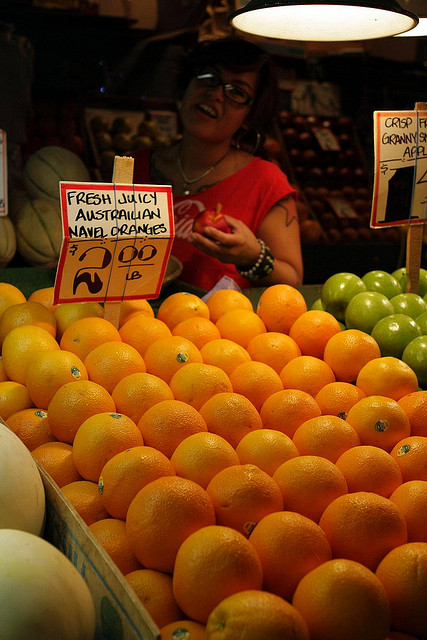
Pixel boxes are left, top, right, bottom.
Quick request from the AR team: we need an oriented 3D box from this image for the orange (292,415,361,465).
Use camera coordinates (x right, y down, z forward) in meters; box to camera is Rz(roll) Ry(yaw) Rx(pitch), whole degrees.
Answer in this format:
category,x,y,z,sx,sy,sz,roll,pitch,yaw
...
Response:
category,x,y,z,sx,sy,sz,roll,pitch,yaw
orange,0.195,0.208,0.879,0.088,0.083,0.083,1,0,-6

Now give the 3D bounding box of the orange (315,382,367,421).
category,x,y,z,sx,sy,sz,roll,pitch,yaw
orange,0.260,0.164,1.041,0.076,0.073,0.078,19,-18,3

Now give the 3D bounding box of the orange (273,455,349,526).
category,x,y,z,sx,sy,sz,roll,pitch,yaw
orange,0.137,0.246,0.776,0.096,0.107,0.095,3,18,0

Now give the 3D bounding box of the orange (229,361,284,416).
category,x,y,z,sx,sy,sz,roll,pitch,yaw
orange,0.086,0.151,1.086,0.104,0.118,0.097,2,-28,0

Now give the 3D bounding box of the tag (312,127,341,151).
category,x,y,z,sx,sy,sz,roll,pitch,yaw
tag,1.143,-1.843,5.091,0.291,0.273,0.076,3,-24,-29

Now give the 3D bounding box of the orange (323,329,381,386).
category,x,y,z,sx,sy,sz,roll,pitch,yaw
orange,0.334,0.103,1.240,0.128,0.150,0.131,0,-19,40

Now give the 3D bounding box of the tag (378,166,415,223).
category,x,y,z,sx,sy,sz,roll,pitch,yaw
tag,0.625,-0.438,1.746,0.151,0.198,0.010,-7,18,-15

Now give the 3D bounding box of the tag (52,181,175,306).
category,x,y,z,sx,sy,sz,roll,pitch,yaw
tag,-0.254,-0.198,1.328,0.323,0.324,0.082,-6,18,-34

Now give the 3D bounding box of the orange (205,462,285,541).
category,x,y,z,sx,sy,sz,roll,pitch,yaw
orange,0.046,0.267,0.743,0.106,0.119,0.103,-5,-36,15

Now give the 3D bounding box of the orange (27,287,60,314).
category,x,y,z,sx,sy,sz,roll,pitch,yaw
orange,-0.485,-0.058,1.493,0.089,0.084,0.091,3,8,37

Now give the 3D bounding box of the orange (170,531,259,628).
category,x,y,z,sx,sy,sz,roll,pitch,yaw
orange,0.001,0.301,0.581,0.100,0.097,0.069,7,15,9

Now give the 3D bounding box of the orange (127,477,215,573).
category,x,y,z,sx,sy,sz,roll,pitch,yaw
orange,-0.052,0.300,0.683,0.110,0.125,0.105,-24,-35,11

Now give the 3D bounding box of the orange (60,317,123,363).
category,x,y,z,sx,sy,sz,roll,pitch,yaw
orange,-0.296,0.036,1.241,0.135,0.114,0.109,-18,-6,-29

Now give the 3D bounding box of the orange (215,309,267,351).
category,x,y,z,sx,sy,sz,roll,pitch,yaw
orange,0.068,0.020,1.321,0.108,0.120,0.106,-11,54,-3

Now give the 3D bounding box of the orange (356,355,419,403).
category,x,y,z,sx,sy,sz,roll,pitch,yaw
orange,0.376,0.133,1.147,0.113,0.106,0.106,-12,-3,-14

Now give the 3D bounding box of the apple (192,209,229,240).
category,x,y,z,sx,sy,sz,roll,pitch,yaw
apple,-0.001,-0.400,1.996,0.126,0.124,0.126,12,-18,-11

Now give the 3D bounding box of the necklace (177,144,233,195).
category,x,y,z,sx,sy,sz,roll,pitch,yaw
necklace,-0.053,-0.811,2.705,0.294,0.265,0.152,4,15,-2

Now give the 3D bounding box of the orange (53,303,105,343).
category,x,y,z,sx,sy,sz,roll,pitch,yaw
orange,-0.362,0.006,1.414,0.114,0.135,0.113,1,-8,17

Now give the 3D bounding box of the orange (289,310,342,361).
category,x,y,z,sx,sy,sz,roll,pitch,yaw
orange,0.269,0.036,1.341,0.122,0.138,0.117,6,15,17

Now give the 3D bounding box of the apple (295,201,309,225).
category,x,y,z,sx,sy,sz,roll,pitch,yaw
apple,0.827,-1.010,4.668,0.099,0.180,0.259,9,16,14

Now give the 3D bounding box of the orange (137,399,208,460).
category,x,y,z,sx,sy,sz,roll,pitch,yaw
orange,-0.079,0.207,0.904,0.104,0.102,0.120,-9,52,16

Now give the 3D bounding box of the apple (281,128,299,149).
category,x,y,z,sx,sy,sz,roll,pitch,yaw
apple,0.725,-1.806,4.998,0.185,0.179,0.222,3,35,2

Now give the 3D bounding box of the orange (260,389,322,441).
category,x,y,z,sx,sy,sz,roll,pitch,yaw
orange,0.150,0.202,0.997,0.102,0.100,0.117,5,53,-8

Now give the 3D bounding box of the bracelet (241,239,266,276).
category,x,y,z,sx,sy,sz,roll,pitch,yaw
bracelet,0.174,-0.263,2.117,0.048,0.160,0.106,-7,19,-38

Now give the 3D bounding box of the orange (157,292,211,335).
category,x,y,z,sx,sy,sz,roll,pitch,yaw
orange,-0.083,-0.022,1.360,0.117,0.130,0.114,-2,1,-8

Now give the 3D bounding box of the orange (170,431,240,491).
category,x,y,z,sx,sy,sz,roll,pitch,yaw
orange,-0.020,0.232,0.819,0.084,0.100,0.086,-11,-31,42

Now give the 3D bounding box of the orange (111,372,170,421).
category,x,y,z,sx,sy,sz,roll,pitch,yaw
orange,-0.148,0.154,1.001,0.106,0.100,0.100,-5,-8,-3

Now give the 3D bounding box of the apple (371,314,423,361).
category,x,y,z,sx,sy,sz,roll,pitch,yaw
apple,0.474,0.043,1.380,0.133,0.151,0.131,0,0,5

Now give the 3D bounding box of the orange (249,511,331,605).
category,x,y,z,sx,sy,sz,roll,pitch,yaw
orange,0.072,0.305,0.676,0.102,0.098,0.121,3,31,-11

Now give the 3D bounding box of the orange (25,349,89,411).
category,x,y,z,sx,sy,sz,roll,pitch,yaw
orange,-0.332,0.133,1.063,0.111,0.126,0.111,-2,-4,32

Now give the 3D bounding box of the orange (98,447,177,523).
category,x,y,z,sx,sy,sz,roll,pitch,yaw
orange,-0.108,0.269,0.791,0.122,0.122,0.127,7,-34,-23

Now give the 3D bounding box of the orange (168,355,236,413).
category,x,y,z,sx,sy,sz,roll,pitch,yaw
orange,-0.026,0.150,1.049,0.137,0.129,0.129,9,2,-11

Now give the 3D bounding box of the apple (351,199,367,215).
category,x,y,z,sx,sy,sz,roll,pitch,yaw
apple,1.494,-1.168,5.146,0.159,0.178,0.159,1,10,10

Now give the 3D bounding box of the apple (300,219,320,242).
category,x,y,z,sx,sy,sz,roll,pitch,yaw
apple,0.861,-0.815,4.594,0.196,0.189,0.191,1,2,1

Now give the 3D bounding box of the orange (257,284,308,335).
category,x,y,z,sx,sy,sz,roll,pitch,yaw
orange,0.191,-0.026,1.407,0.101,0.118,0.099,-31,34,-21

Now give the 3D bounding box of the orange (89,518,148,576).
category,x,y,z,sx,sy,sz,roll,pitch,yaw
orange,-0.135,0.314,0.703,0.067,0.077,0.065,-8,-9,-12

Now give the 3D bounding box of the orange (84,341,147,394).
category,x,y,z,sx,sy,sz,roll,pitch,yaw
orange,-0.210,0.094,1.057,0.108,0.109,0.128,11,10,-25

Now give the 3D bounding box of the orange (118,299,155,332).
category,x,y,z,sx,sy,sz,roll,pitch,yaw
orange,-0.225,-0.017,1.427,0.091,0.106,0.090,1,6,-1

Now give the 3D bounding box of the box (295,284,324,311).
category,x,y,z,sx,sy,sz,roll,pitch,yaw
box,0.388,-0.088,2.034,0.108,0.126,0.107,5,1,-1

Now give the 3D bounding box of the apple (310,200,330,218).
category,x,y,z,sx,sy,sz,roll,pitch,yaw
apple,1.028,-1.103,4.971,0.156,0.182,0.154,9,-16,-5

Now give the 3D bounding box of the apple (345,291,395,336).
category,x,y,z,sx,sy,sz,roll,pitch,yaw
apple,0.449,0.023,1.484,0.134,0.156,0.135,4,-28,20

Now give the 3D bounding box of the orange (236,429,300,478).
category,x,y,z,sx,sy,sz,roll,pitch,yaw
orange,0.094,0.216,0.880,0.089,0.075,0.077,4,25,33

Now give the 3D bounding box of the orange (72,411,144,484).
category,x,y,z,sx,sy,sz,roll,pitch,yaw
orange,-0.194,0.226,0.876,0.100,0.116,0.102,4,9,0

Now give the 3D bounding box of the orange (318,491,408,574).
category,x,y,z,sx,sy,sz,roll,pitch,yaw
orange,0.212,0.309,0.720,0.115,0.119,0.121,15,-19,-13

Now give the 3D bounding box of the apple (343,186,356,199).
category,x,y,z,sx,sy,sz,roll,pitch,yaw
apple,1.422,-1.345,5.252,0.135,0.126,0.182,9,16,16

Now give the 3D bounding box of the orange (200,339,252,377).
category,x,y,z,sx,sy,sz,roll,pitch,yaw
orange,0.027,0.079,1.137,0.089,0.084,0.081,7,-3,-8

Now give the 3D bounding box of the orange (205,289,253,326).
category,x,y,z,sx,sy,sz,roll,pitch,yaw
orange,0.036,-0.050,1.422,0.108,0.125,0.106,0,34,-20

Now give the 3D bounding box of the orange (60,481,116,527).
category,x,y,z,sx,sy,sz,roll,pitch,yaw
orange,-0.195,0.291,0.816,0.065,0.075,0.063,1,55,9

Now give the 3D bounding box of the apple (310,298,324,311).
category,x,y,z,sx,sy,sz,roll,pitch,yaw
apple,0.345,-0.049,1.679,0.035,0.042,0.034,4,3,2

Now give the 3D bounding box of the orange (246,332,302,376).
category,x,y,z,sx,sy,sz,roll,pitch,yaw
orange,0.146,0.074,1.202,0.108,0.104,0.102,2,5,3

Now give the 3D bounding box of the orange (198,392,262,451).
category,x,y,z,sx,sy,sz,roll,pitch,yaw
orange,0.022,0.178,0.961,0.102,0.115,0.097,5,21,-5

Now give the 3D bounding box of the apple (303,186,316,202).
category,x,y,z,sx,sy,sz,roll,pitch,yaw
apple,0.963,-1.262,4.995,0.128,0.125,0.151,7,18,6

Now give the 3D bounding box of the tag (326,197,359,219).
category,x,y,z,sx,sy,sz,roll,pitch,yaw
tag,1.282,-1.125,5.034,0.247,0.321,0.031,-16,-25,-35
